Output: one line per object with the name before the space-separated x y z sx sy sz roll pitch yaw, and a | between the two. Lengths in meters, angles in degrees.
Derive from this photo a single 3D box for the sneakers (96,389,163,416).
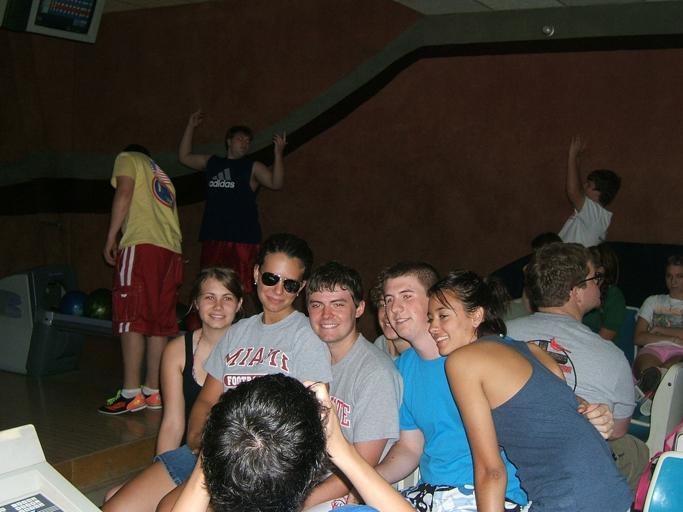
sneakers | -1.347 0.947 3.769 0.449 0.228 0.176 3 -9 -9

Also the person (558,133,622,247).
person | 2.032 -0.533 4.691 0.469 0.935 0.327 -1 -3 -16
